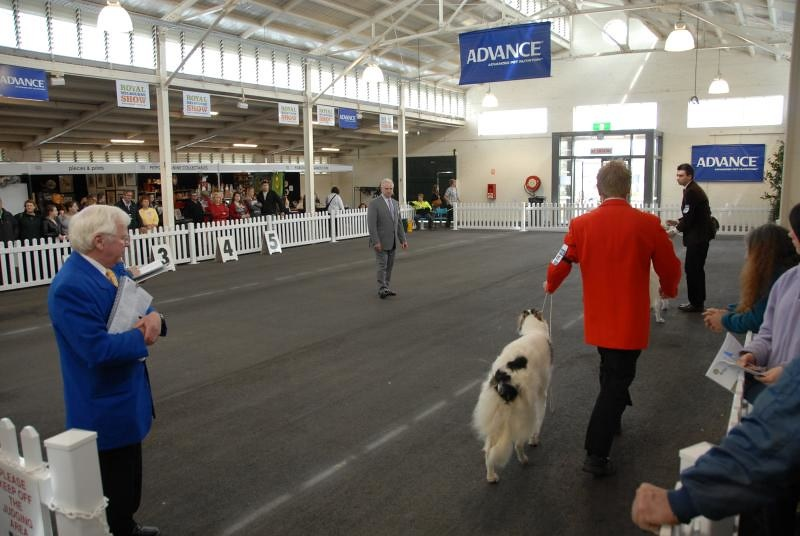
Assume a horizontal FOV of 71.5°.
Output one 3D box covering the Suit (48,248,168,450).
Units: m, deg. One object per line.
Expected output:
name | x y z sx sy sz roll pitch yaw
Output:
Suit | -2.231 0.613 4.188 0.583 1.432 0.506 -9 15 -33

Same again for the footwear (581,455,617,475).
footwear | 1.830 1.813 5.137 0.131 0.167 0.330 21 5 43

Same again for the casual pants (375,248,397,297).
casual pants | -0.285 0.090 11.127 0.339 0.933 0.805 -1 13 -2

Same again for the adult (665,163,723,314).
adult | 4.952 -0.494 9.566 0.840 2.396 0.681 -1 7 17

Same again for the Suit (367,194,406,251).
Suit | -0.312 -0.883 11.109 0.809 1.042 0.432 -12 17 -40

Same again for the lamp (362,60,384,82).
lamp | -0.774 -5.577 15.856 0.506 0.562 1.020 -1 13 0

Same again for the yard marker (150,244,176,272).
yard marker | -4.989 -0.239 11.728 0.198 0.654 0.624 -9 3 17

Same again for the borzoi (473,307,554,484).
borzoi | 1.299 1.031 5.271 0.507 1.061 1.779 0 31 24

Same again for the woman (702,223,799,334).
woman | 3.162 0.088 5.471 1.043 1.184 0.736 9 6 44

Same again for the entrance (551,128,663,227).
entrance | 9.849 -4.438 26.502 4.530 4.551 1.771 8 21 38

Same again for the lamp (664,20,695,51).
lamp | 5.836 -4.823 11.620 0.492 0.595 0.948 5 15 25

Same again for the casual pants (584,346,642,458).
casual pants | 1.953 1.240 5.165 0.273 0.964 0.498 9 16 38
